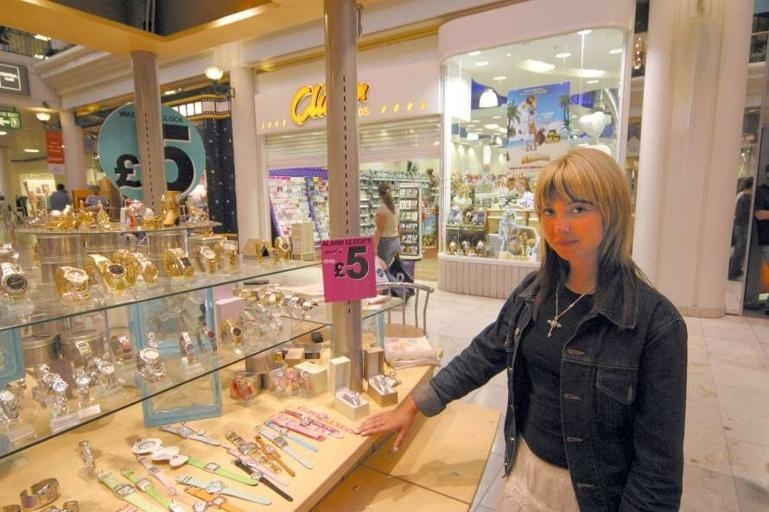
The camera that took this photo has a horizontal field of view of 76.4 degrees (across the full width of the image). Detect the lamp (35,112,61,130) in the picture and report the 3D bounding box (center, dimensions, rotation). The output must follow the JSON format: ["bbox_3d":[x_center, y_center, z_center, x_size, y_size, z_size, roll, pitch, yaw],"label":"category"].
[{"bbox_3d":[-8.786,-3.593,12.898,0.314,0.252,0.667,-19,32,-38],"label":"lamp"}]

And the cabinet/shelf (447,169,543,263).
[{"bbox_3d":[1.564,-0.581,6.806,1.386,1.243,0.472,2,3,30],"label":"cabinet/shelf"}]
